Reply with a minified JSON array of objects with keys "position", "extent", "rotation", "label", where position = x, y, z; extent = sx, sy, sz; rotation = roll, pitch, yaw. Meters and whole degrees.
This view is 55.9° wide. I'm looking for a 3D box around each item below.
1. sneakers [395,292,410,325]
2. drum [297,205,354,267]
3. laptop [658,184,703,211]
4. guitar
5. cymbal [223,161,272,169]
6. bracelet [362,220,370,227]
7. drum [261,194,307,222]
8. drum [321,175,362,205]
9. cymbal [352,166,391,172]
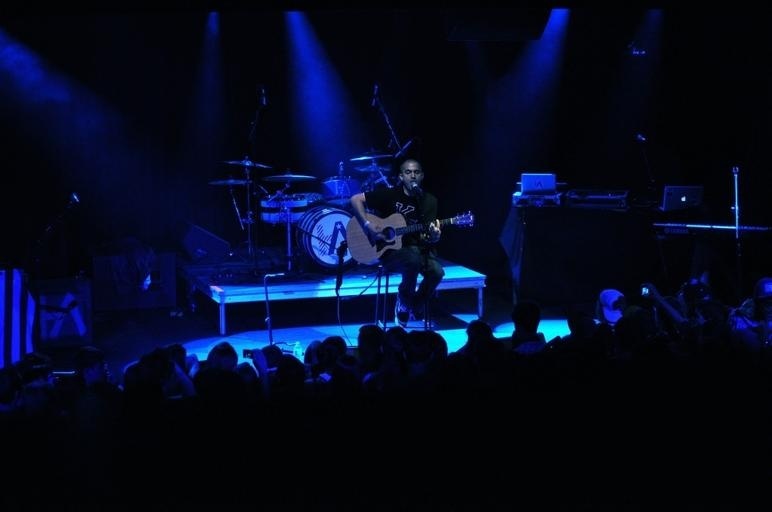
[{"position":[0.173,0.614,8.250],"extent":[0.123,0.164,0.364],"rotation":[4,28,-17],"label":"sneakers"},{"position":[-0.560,-0.168,9.032],"extent":[0.733,0.736,0.418],"rotation":[-6,-8,21],"label":"drum"},{"position":[3.363,-0.673,8.305],"extent":[0.512,0.324,0.275],"rotation":[-1,7,-11],"label":"laptop"},{"position":[-0.045,-0.201,7.956],"extent":[0.896,0.532,0.433],"rotation":[0,7,9],"label":"guitar"},{"position":[-2.044,-1.328,10.575],"extent":[0.317,0.075,0.324],"rotation":[6,9,26],"label":"cymbal"},{"position":[-0.193,-0.353,7.882],"extent":[0.062,0.064,0.089],"rotation":[-4,7,-25],"label":"bracelet"},{"position":[-1.358,-0.621,9.676],"extent":[0.475,0.204,0.473],"rotation":[-3,9,0],"label":"drum"},{"position":[-0.619,-0.909,9.893],"extent":[0.471,0.294,0.479],"rotation":[0,-7,0],"label":"drum"},{"position":[-0.175,-1.210,9.982],"extent":[0.242,0.057,0.247],"rotation":[2,9,22],"label":"cymbal"}]
